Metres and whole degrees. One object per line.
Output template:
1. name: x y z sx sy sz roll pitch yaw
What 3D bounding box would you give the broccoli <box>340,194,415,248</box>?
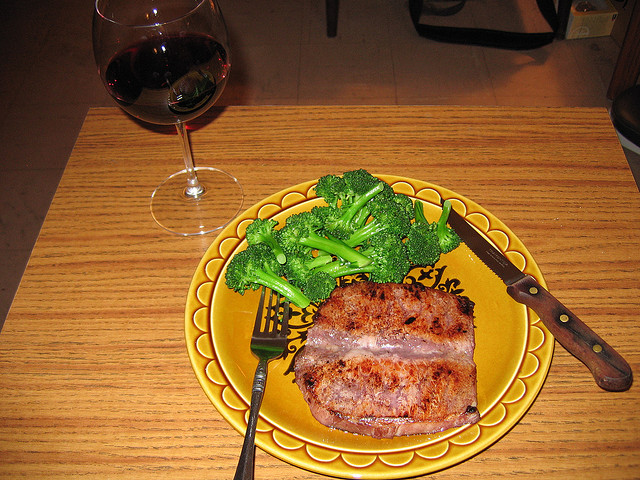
1. broccoli: 0.234 -0.073 2.188 0.273 0.125 0.155 -31 96 -3

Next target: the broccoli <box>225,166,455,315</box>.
1. broccoli: 0.077 0.028 2.187 0.769 0.297 0.459 -7 46 -6

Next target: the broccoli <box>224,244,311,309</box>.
1. broccoli: -0.176 0.119 2.058 0.268 0.329 0.146 -9 100 -38

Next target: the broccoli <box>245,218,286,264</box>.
1. broccoli: -0.189 -0.004 2.201 0.132 0.089 0.171 -41 65 -20

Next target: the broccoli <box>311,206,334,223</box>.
1. broccoli: 0.007 -0.098 2.180 0.066 0.025 0.057 -2 48 -3

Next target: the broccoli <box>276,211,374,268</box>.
1. broccoli: 0.000 0.001 2.197 0.314 0.135 0.195 21 34 3

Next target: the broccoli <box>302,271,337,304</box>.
1. broccoli: -0.006 0.161 2.079 0.113 0.062 0.095 11 38 36

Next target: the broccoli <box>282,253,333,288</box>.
1. broccoli: -0.040 0.102 2.159 0.159 0.081 0.105 -17 63 -24

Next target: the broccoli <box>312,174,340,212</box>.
1. broccoli: 0.023 -0.210 2.297 0.137 0.173 0.086 0 96 -1

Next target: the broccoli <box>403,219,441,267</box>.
1. broccoli: 0.365 0.014 2.113 0.146 0.065 0.140 -5 71 6
